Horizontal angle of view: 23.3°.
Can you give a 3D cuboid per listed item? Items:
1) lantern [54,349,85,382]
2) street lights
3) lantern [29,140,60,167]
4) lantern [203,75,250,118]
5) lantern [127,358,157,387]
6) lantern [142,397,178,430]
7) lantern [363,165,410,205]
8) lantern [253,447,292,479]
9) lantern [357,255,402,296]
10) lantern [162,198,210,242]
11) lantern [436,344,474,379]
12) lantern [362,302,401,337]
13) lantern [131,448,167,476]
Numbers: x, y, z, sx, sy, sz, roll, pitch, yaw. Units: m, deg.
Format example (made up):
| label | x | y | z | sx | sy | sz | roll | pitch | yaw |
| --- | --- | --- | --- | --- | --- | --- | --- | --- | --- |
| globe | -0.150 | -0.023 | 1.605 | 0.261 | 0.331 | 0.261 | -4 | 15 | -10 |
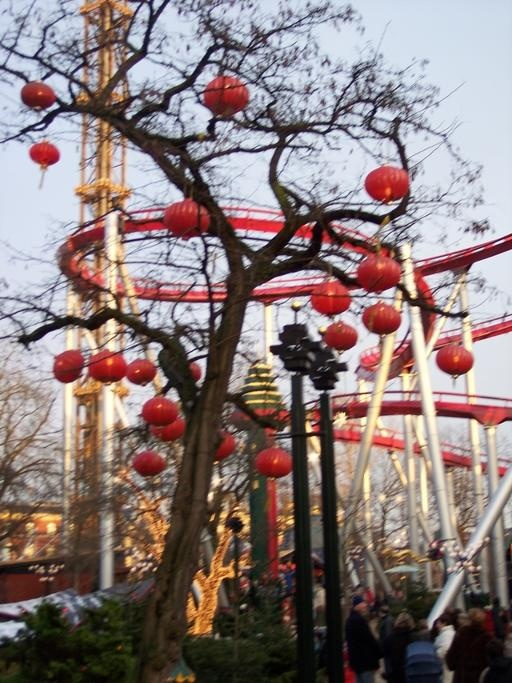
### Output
| label | x | y | z | sx | sy | sz | roll | pitch | yaw |
| --- | --- | --- | --- | --- | --- | --- | --- | --- | --- |
| lantern | -1.541 | 0.193 | 10.271 | 0.326 | 0.323 | 0.307 | 0 | -1 | 5 |
| street lights | 0.500 | 1.338 | 10.566 | 0.480 | 3.043 | 0.880 | -9 | -21 | 19 |
| lantern | -1.943 | -1.753 | 11.427 | 0.250 | 0.298 | 0.159 | 2 | -20 | -9 |
| lantern | -0.249 | -2.058 | 10.112 | 0.351 | 0.371 | 0.379 | -1 | -19 | -3 |
| lantern | -1.011 | 0.304 | 11.027 | 0.311 | 0.315 | 0.292 | -4 | -16 | -6 |
| lantern | -0.839 | 0.598 | 10.582 | 0.277 | 0.237 | 0.265 | -10 | -17 | 8 |
| lantern | 1.062 | -1.263 | 10.029 | 0.332 | 0.276 | 0.392 | 4 | -20 | -16 |
| lantern | 0.188 | 1.082 | 11.079 | 0.273 | 0.285 | 0.306 | -6 | -10 | 30 |
| lantern | 0.985 | -0.568 | 9.953 | 0.341 | 0.428 | 0.403 | -4 | -19 | 6 |
| lantern | -0.555 | -1.032 | 9.960 | 0.360 | 0.401 | 0.423 | 0 | -19 | -3 |
| lantern | 1.741 | 0.143 | 10.936 | 0.310 | 0.383 | 0.387 | -4 | -19 | 8 |
| lantern | 0.959 | -0.181 | 9.498 | 0.270 | 0.325 | 0.247 | 6 | -51 | -5 |
| lantern | -0.917 | 1.078 | 11.201 | 0.268 | 0.132 | 0.257 | 22 | -24 | -25 |
